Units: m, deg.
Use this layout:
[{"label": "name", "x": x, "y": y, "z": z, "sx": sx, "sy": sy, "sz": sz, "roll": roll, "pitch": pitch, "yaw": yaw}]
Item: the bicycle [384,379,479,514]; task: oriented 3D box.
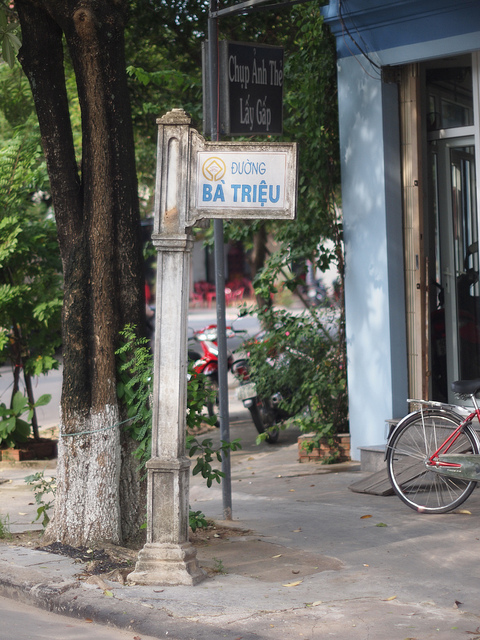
[{"label": "bicycle", "x": 1.450, "y": 0.912, "z": 8.287, "sx": 0.498, "sy": 0.947, "sz": 1.007, "roll": -4, "pitch": 5, "yaw": -26}]

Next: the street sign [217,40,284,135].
[{"label": "street sign", "x": 0.086, "y": -1.674, "z": 8.163, "sx": 0.087, "sy": 0.653, "sz": 0.679, "roll": 9, "pitch": 14, "yaw": 38}]
